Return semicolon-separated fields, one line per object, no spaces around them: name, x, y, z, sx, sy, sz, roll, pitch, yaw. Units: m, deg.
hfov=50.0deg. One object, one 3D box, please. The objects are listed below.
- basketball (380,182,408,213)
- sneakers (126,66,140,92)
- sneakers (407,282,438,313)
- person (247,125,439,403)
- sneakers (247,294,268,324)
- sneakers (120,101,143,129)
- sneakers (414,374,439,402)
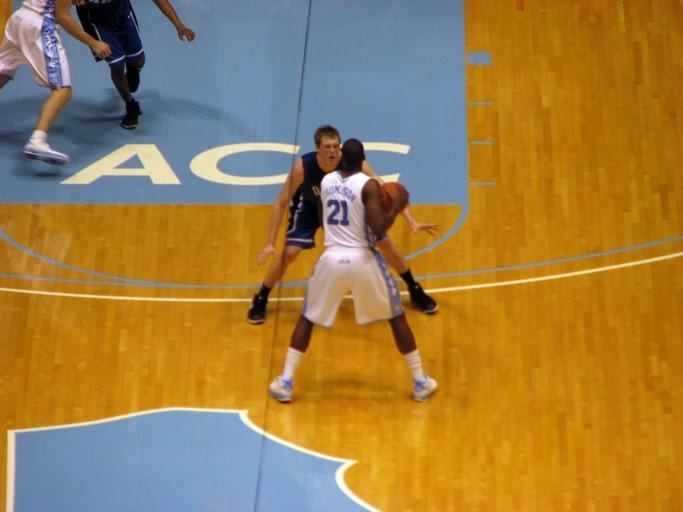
basketball;0.313;-0.367;4.347;0.169;0.180;0.137;18;-24;-26
sneakers;-1.480;-1.261;5.214;0.062;0.225;0.082;-4;22;-3
sneakers;0.529;0.266;4.801;0.097;0.164;0.220;-26;29;-28
person;0.023;0.131;4.677;1.218;2.158;0.763;3;18;5
sneakers;-0.551;0.360;4.807;0.075;0.105;0.245;15;37;-20
sneakers;-1.484;-0.997;5.189;0.094;0.149;0.235;7;66;6
sneakers;0.520;0.827;4.579;0.060;0.125;0.127;20;57;31
